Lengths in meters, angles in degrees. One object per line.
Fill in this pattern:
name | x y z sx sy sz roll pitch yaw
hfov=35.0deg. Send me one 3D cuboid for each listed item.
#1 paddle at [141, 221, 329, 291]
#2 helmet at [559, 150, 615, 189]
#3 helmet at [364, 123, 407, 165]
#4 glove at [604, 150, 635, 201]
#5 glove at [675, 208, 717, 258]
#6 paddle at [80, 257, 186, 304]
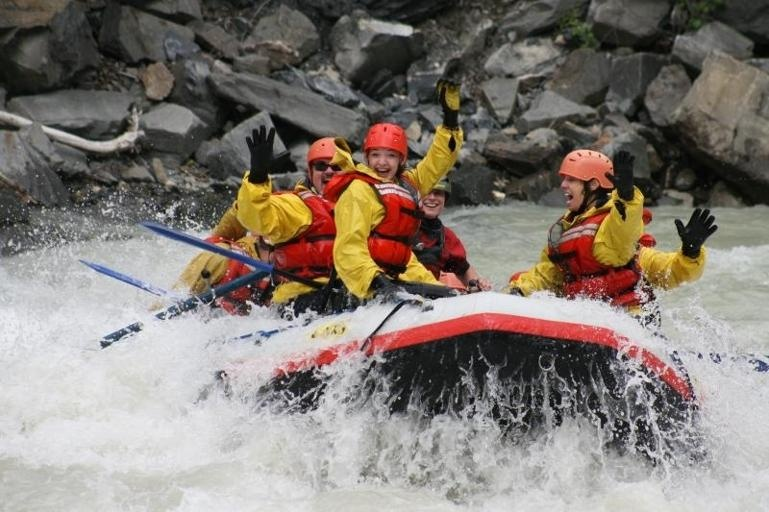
paddle | -1.931 0.037 16.179 2.353 0.129 0.236 22 16 -18
helmet | 2.615 -1.092 15.710 0.644 0.325 0.469 -1 9 -1
helmet | 0.018 -1.419 15.702 0.424 0.529 0.436 3 4 4
glove | 2.943 -1.003 15.064 0.363 0.510 0.448 11 51 11
glove | 3.884 -0.313 15.154 0.498 0.542 0.365 -30 55 -22
paddle | -3.580 0.379 17.256 1.359 0.146 0.131 22 27 -12
